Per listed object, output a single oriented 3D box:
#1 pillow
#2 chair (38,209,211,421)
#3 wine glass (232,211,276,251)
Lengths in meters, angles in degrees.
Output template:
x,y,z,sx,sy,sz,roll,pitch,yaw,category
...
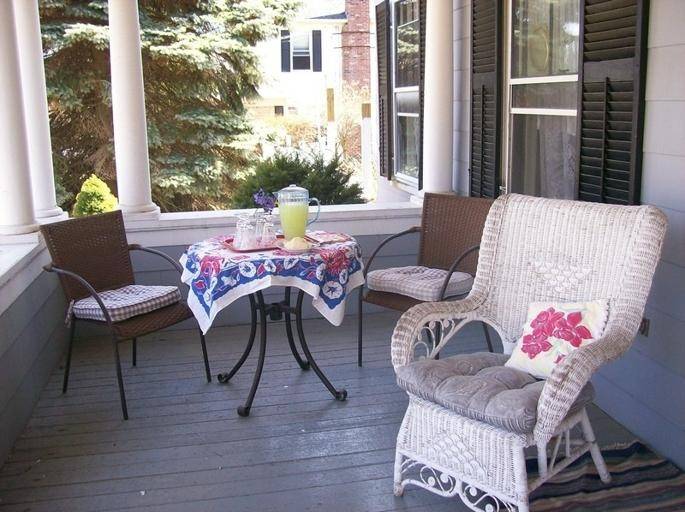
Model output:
x,y,z,sx,sy,sz,roll,pitch,yaw,category
0.971,0.364,2.425,0.122,0.371,0.406,36,-22,-34,pillow
-1.265,0.188,3.999,1.296,1.674,1.176,14,20,34,chair
-0.504,-0.158,3.075,0.228,0.199,0.223,-4,8,-21,wine glass
